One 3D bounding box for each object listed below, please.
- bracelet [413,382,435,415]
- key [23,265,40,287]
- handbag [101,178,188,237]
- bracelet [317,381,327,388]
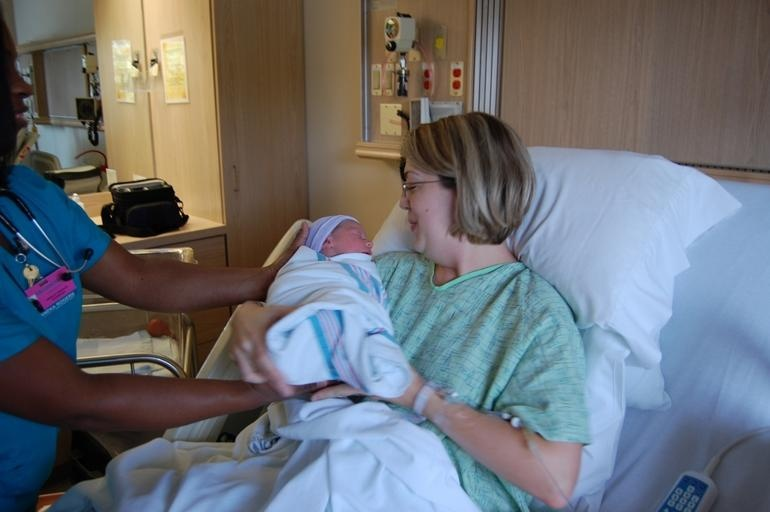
[{"bbox_3d":[0.111,0.412,1.608,0.032,0.060,0.081,34,37,11],"label":"bracelet"},{"bbox_3d":[-0.898,0.046,1.381,0.029,0.050,0.016,1,-11,-36],"label":"key"},{"bbox_3d":[-1.318,-0.267,3.063,0.337,0.253,0.368,8,16,36],"label":"handbag"},{"bbox_3d":[-0.182,0.367,1.607,0.034,0.014,0.047,-8,-1,-5],"label":"bracelet"}]
